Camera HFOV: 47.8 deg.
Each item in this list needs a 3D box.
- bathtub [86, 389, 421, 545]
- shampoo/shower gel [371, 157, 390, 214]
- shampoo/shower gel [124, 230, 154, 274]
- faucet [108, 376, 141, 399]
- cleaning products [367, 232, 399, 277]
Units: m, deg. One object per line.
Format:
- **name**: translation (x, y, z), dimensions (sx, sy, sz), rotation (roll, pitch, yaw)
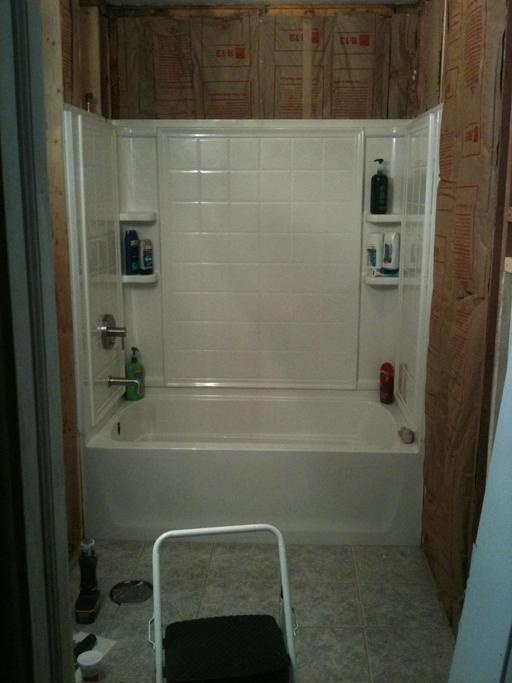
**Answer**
- **bathtub**: translation (0.003, 0.652, 3.155), dimensions (1.613, 0.539, 0.817), rotation (1, 11, 3)
- **shampoo/shower gel**: translation (0.693, -0.870, 3.254), dimensions (0.107, 0.307, 0.106), rotation (2, 10, 13)
- **shampoo/shower gel**: translation (-0.679, -0.522, 3.356), dimensions (0.092, 0.294, 0.191), rotation (8, 13, 39)
- **faucet**: translation (-0.712, 0.255, 3.265), dimensions (0.200, 0.135, 0.071), rotation (0, 2, 6)
- **cleaning products**: translation (0.713, -0.490, 3.243), dimensions (0.212, 0.334, 0.100), rotation (3, 10, 34)
